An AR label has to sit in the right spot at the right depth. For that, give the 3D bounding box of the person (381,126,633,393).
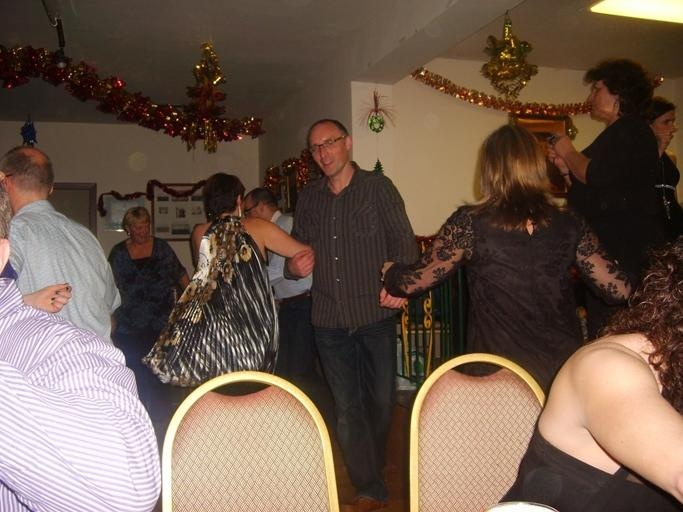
[{"bbox_3d":[0.681,0.127,2.308,0.950,1.560,0.469,-8,39,10],"label":"person"}]

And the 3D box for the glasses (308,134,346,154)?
[{"bbox_3d":[-0.077,-0.559,2.855,0.120,0.040,0.125,-23,-2,3],"label":"glasses"}]

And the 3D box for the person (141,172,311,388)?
[{"bbox_3d":[-0.507,0.117,2.480,0.676,0.899,0.439,5,12,0],"label":"person"}]
